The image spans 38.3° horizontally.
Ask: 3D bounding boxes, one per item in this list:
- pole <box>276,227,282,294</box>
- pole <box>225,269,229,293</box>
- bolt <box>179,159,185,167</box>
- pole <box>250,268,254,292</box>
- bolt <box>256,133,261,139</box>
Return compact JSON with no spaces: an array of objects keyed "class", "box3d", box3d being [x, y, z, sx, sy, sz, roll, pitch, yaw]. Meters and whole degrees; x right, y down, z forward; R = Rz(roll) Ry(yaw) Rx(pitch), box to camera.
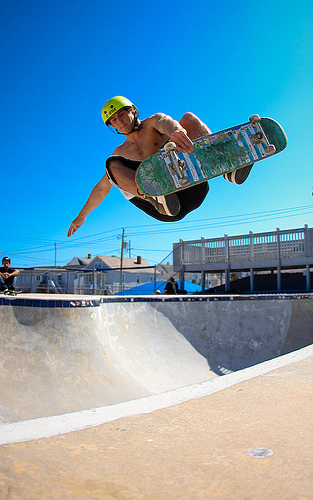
[{"class":"pole","box3d":[5.221,0.372,19.147,0.146,2.598,0.399,-1,-3,15]},{"class":"pole","box3d":[3.250,1.345,20.683,0.158,0.956,0.574,-1,-3,8]},{"class":"bolt","box3d":[0.196,-0.663,3.420,0.022,0.066,0.060,-2,-3,30]},{"class":"pole","box3d":[4.301,1.349,20.219,0.169,1.084,0.703,-1,-3,11]},{"class":"bolt","box3d":[0.828,-0.924,3.641,0.043,0.042,0.011,0,3,-2]}]
